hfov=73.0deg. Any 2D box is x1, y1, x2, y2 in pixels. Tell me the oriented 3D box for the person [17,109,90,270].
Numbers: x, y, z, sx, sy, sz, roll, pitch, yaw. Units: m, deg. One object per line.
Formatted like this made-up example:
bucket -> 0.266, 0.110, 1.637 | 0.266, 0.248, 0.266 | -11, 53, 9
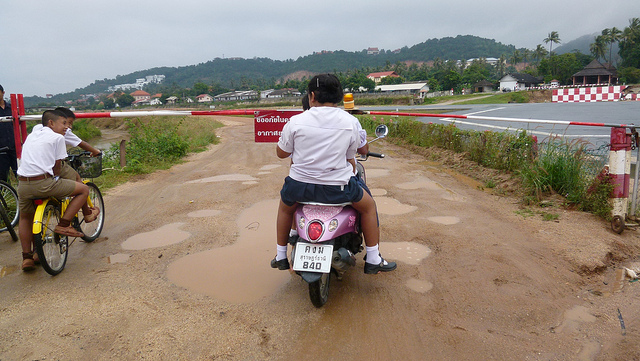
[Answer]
person -> -5.044, 0.143, 8.036 | 1.286, 2.859, 0.911 | -12, 18, -28
